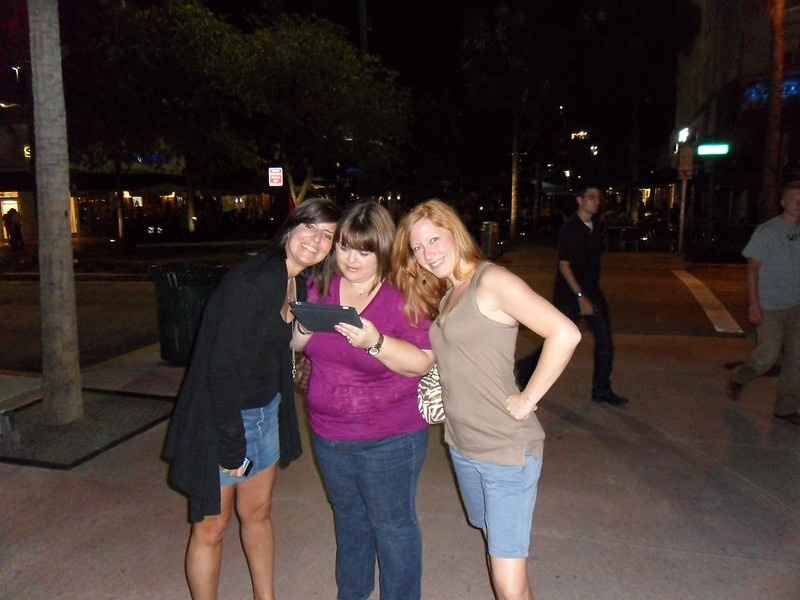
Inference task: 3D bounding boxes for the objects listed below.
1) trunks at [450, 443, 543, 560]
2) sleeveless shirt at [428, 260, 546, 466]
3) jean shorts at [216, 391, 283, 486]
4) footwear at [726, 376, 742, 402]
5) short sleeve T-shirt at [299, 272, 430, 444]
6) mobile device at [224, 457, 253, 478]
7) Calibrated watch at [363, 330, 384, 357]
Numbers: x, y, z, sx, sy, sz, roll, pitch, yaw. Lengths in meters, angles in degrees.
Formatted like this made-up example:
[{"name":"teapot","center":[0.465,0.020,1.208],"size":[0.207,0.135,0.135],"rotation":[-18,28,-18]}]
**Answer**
[{"name":"trunks","center":[0.573,1.205,3.846],"size":[0.501,0.661,0.302],"rotation":[7,12,38]},{"name":"sleeveless shirt","center":[0.555,0.372,4.008],"size":[0.621,1.169,0.818],"rotation":[0,-3,-18]},{"name":"jean shorts","center":[-0.945,0.852,3.911],"size":[0.263,0.451,0.465],"rotation":[16,35,28]},{"name":"footwear","center":[3.739,0.995,7.036],"size":[0.143,0.242,0.254],"rotation":[-1,51,30]},{"name":"short sleeve T-shirt","center":[-0.271,0.319,4.148],"size":[1.030,1.035,0.608],"rotation":[0,4,25]},{"name":"mobile device","center":[-0.992,1.036,3.877],"size":[0.139,0.142,0.032],"rotation":[-3,13,-43]},{"name":"Calibrated watch","center":[-0.176,0.266,3.849],"size":[0.086,0.145,0.136],"rotation":[16,-21,12]}]
